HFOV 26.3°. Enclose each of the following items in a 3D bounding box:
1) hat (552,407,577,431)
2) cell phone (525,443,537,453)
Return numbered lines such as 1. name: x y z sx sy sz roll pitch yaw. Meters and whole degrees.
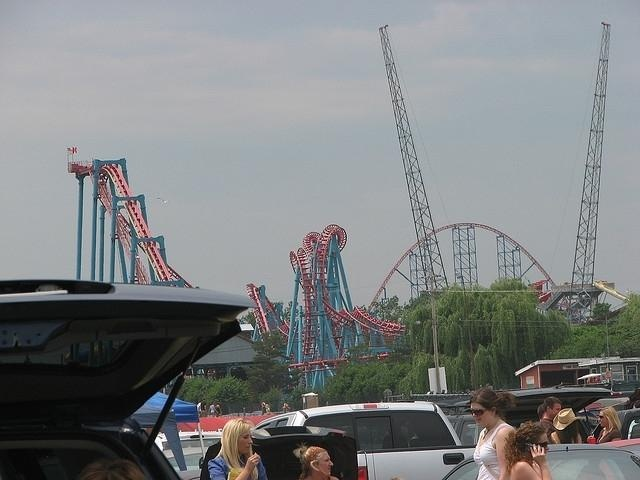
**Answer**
1. hat: 2.971 2.160 16.666 0.296 0.258 0.225 -7 -2 10
2. cell phone: 2.128 2.062 13.682 0.143 0.104 0.024 -7 -2 8
